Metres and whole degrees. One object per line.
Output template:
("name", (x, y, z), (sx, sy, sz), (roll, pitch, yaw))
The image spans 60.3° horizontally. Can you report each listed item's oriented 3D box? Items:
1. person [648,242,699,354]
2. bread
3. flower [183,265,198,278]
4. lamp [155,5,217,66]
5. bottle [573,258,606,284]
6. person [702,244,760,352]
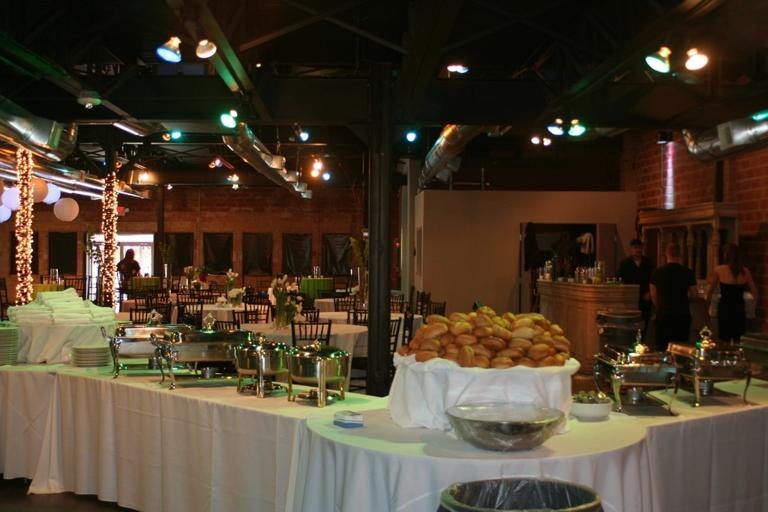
("person", (3.511, 0.500, 8.052), (0.505, 1.280, 0.605), (1, 4, 23))
("bread", (0.650, 0.509, 4.218), (1.075, 0.344, 0.381), (0, 3, 0))
("flower", (-4.687, 0.375, 16.018), (0.329, 0.361, 0.363), (-5, -7, -16))
("lamp", (-1.976, -2.147, 6.594), (0.610, 0.621, 0.594), (-2, 6, -8))
("bottle", (2.954, 0.225, 9.607), (0.481, 0.490, 0.375), (1, -2, 33))
("person", (4.440, 0.471, 8.424), (0.580, 1.246, 0.531), (-3, 4, -42))
